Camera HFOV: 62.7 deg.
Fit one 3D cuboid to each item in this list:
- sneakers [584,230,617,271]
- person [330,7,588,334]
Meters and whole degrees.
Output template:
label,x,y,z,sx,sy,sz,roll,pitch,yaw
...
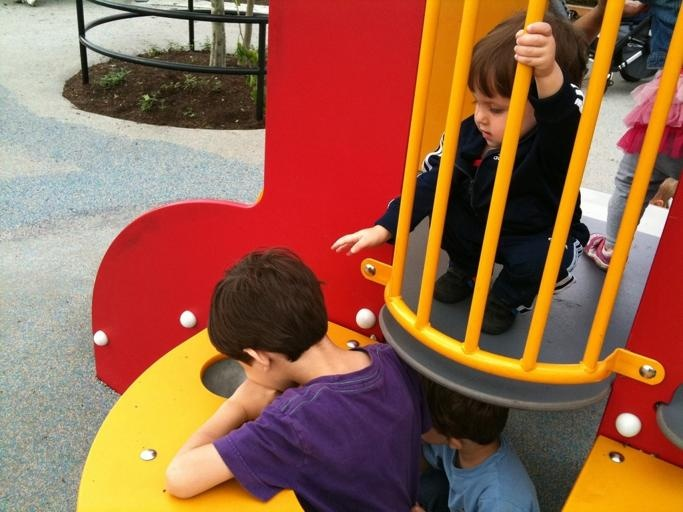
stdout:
label,x,y,z,sx,sy,sz,roll,pitch,yaw
sneakers,0.814,-0.035,1.773,0.067,0.084,0.185,-14,31,8
person,0.315,-0.218,1.289,0.466,0.770,0.436,21,42,32
